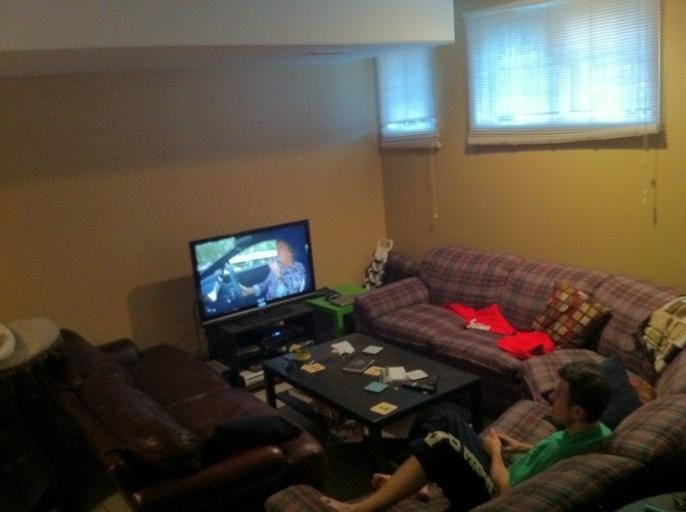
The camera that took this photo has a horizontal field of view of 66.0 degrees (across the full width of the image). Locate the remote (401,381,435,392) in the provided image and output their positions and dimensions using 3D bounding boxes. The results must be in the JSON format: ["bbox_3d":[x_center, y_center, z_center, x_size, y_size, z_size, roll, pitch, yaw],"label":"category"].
[{"bbox_3d":[0.518,0.860,3.516,0.140,0.031,0.077,3,8,33],"label":"remote"}]

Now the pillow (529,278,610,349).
[{"bbox_3d":[1.661,0.438,3.902,0.127,0.419,0.438,31,1,-41],"label":"pillow"}]

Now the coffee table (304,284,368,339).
[{"bbox_3d":[-0.069,0.510,5.274,0.488,0.450,0.495,14,23,41],"label":"coffee table"}]

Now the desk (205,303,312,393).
[{"bbox_3d":[-0.824,0.693,5.032,0.974,0.571,0.547,-8,24,-35],"label":"desk"}]
